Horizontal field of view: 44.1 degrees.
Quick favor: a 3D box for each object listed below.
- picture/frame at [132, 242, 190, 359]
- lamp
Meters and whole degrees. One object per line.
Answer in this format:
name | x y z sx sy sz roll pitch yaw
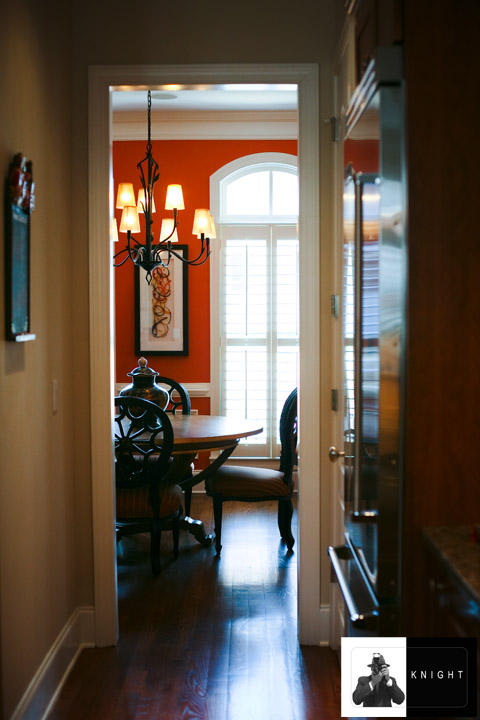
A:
picture/frame | -0.630 -0.480 4.695 0.429 0.045 1.158 -3 -46 -11
lamp | -0.553 -1.109 3.633 0.513 1.228 0.646 1 3 21
